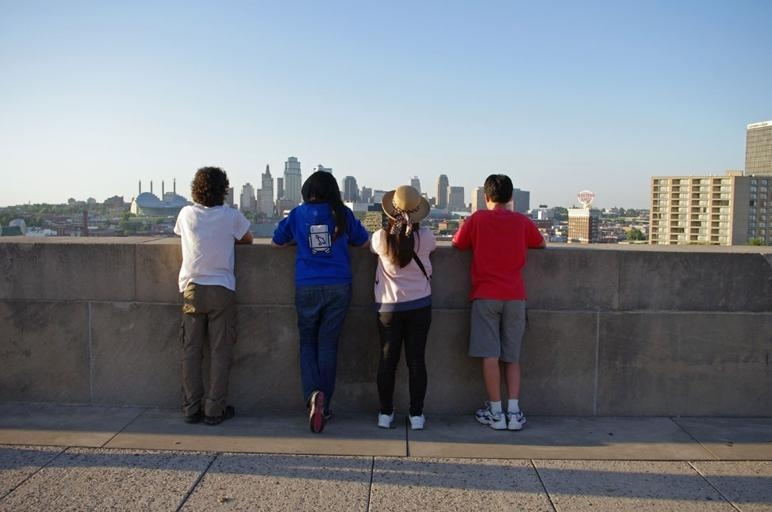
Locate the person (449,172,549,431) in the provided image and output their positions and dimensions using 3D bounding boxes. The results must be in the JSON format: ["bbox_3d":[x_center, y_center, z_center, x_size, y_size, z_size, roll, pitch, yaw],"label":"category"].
[{"bbox_3d":[1.035,0.426,7.784,0.754,2.340,0.441,0,5,9],"label":"person"}]

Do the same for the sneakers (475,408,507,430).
[{"bbox_3d":[0.965,1.498,7.783,0.126,0.152,0.333,-7,14,-35],"label":"sneakers"}]

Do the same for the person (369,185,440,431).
[{"bbox_3d":[0.161,0.478,7.685,0.584,2.233,0.284,0,5,0],"label":"person"}]

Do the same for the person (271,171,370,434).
[{"bbox_3d":[-0.603,0.392,7.875,0.724,2.372,0.655,-5,7,-42],"label":"person"}]

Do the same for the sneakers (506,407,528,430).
[{"bbox_3d":[1.231,1.514,7.805,0.159,0.174,0.348,1,5,18],"label":"sneakers"}]

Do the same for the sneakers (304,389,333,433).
[{"bbox_3d":[-0.614,1.424,7.625,0.163,0.374,0.161,1,1,-9],"label":"sneakers"}]

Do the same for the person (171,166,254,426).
[{"bbox_3d":[-1.637,0.363,7.835,0.670,2.376,0.458,-2,5,-14],"label":"person"}]

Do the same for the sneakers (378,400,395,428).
[{"bbox_3d":[-0.002,1.458,7.731,0.099,0.116,0.277,0,38,4],"label":"sneakers"}]

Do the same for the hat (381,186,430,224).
[{"bbox_3d":[0.177,-0.467,7.664,0.436,0.347,0.416,0,5,-1],"label":"hat"}]
